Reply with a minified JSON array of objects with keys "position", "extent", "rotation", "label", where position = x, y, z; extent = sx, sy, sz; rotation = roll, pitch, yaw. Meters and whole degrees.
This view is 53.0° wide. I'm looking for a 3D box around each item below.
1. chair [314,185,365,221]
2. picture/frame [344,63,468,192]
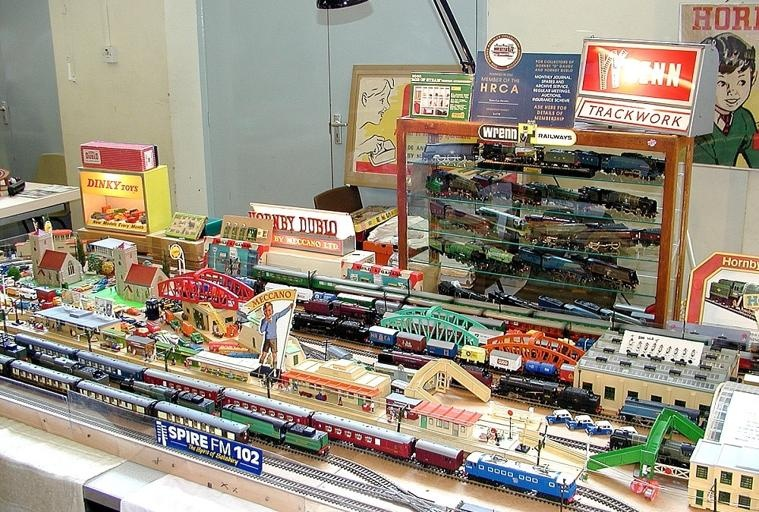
[{"position":[-0.693,-1.018,13.694],"extent":[0.689,0.820,0.675],"rotation":[6,17,19],"label":"chair"},{"position":[0.081,-2.322,13.719],"extent":[1.655,2.201,0.391],"rotation":[8,12,36],"label":"picture/frame"}]
